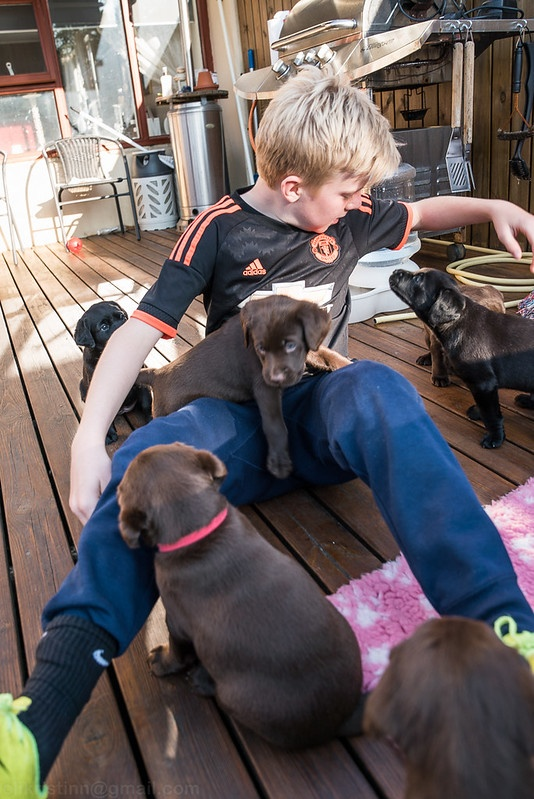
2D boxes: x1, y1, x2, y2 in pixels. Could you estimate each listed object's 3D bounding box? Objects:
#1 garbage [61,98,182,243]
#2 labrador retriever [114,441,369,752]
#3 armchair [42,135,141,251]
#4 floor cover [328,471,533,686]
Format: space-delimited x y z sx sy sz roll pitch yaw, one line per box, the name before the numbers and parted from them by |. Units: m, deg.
garbage | -1.853 -2.959 7.365 1.504 1.358 0.570 2 23 25
labrador retriever | -0.054 0.338 0.942 0.258 0.483 0.420 -22 27 -29
armchair | -2.135 -2.545 6.681 0.824 1.013 0.722 -22 16 -29
floor cover | 0.363 0.405 1.203 0.247 0.012 0.695 -35 4 2
